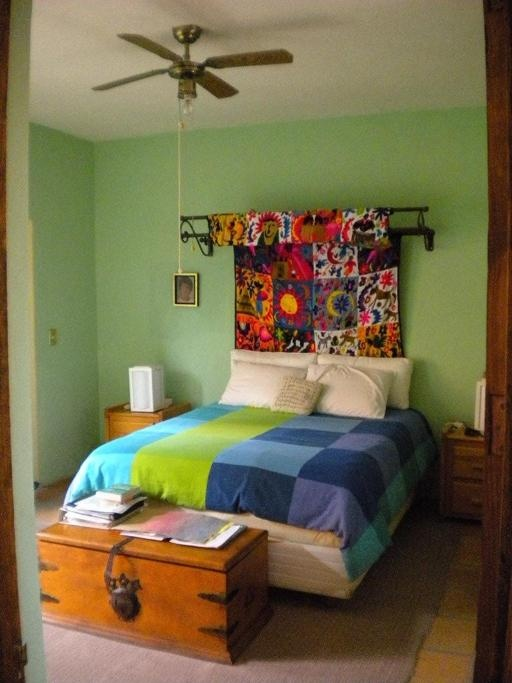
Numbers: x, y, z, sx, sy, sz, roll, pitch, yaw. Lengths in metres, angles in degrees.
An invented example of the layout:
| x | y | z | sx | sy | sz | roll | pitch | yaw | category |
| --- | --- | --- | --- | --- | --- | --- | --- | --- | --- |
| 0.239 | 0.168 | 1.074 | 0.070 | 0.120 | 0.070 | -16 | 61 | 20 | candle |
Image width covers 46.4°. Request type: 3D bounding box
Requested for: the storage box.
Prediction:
| x | y | z | sx | sy | sz | roll | pitch | yaw | category |
| --- | --- | --- | --- | --- | --- | --- | --- | --- | --- |
| -0.359 | 0.814 | 2.498 | 0.791 | 0.347 | 0.466 | -1 | -2 | 26 | storage box |

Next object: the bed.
| x | y | z | sx | sy | sz | roll | pitch | yaw | category |
| --- | --- | --- | --- | --- | --- | --- | --- | --- | --- |
| 0.120 | 0.627 | 3.670 | 1.667 | 0.893 | 1.985 | 2 | 5 | 17 | bed |

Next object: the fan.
| x | y | z | sx | sy | sz | roll | pitch | yaw | category |
| --- | --- | --- | --- | --- | --- | --- | --- | --- | --- |
| -0.251 | -1.189 | 2.637 | 0.612 | 0.209 | 0.590 | -2 | 4 | -17 | fan |

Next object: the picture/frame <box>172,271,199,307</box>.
| x | y | z | sx | sy | sz | roll | pitch | yaw | category |
| --- | --- | --- | --- | --- | --- | --- | --- | --- | --- |
| -0.552 | -0.433 | 4.841 | 0.289 | 0.343 | 0.026 | 3 | 4 | 25 | picture/frame |

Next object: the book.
| x | y | z | sx | sy | sz | roll | pitch | yaw | category |
| --- | --- | --- | --- | --- | --- | --- | --- | --- | --- |
| -0.703 | 0.744 | 2.717 | 0.205 | 0.055 | 0.211 | 2 | 7 | 28 | book |
